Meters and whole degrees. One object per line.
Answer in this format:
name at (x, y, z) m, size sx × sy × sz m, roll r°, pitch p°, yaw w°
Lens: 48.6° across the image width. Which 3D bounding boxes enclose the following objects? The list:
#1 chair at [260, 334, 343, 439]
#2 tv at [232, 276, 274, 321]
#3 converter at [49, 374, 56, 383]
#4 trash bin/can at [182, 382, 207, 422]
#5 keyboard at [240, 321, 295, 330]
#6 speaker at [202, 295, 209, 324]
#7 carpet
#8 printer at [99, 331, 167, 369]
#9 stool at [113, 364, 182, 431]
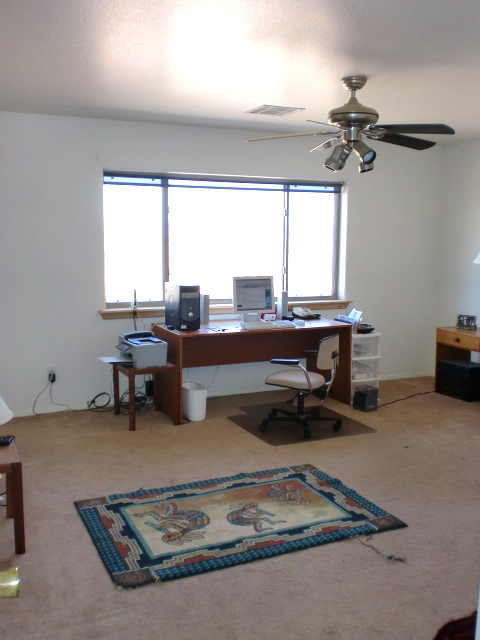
chair at (0.533, 0.549, 4.758) m, size 0.706 × 0.830 × 0.665 m, roll 3°, pitch 3°, yaw 40°
tv at (0.125, -0.233, 5.225) m, size 0.435 × 0.455 × 0.253 m, roll -2°, pitch 6°, yaw -19°
converter at (-1.752, 0.552, 4.999) m, size 0.061 × 0.106 × 0.040 m, roll -1°, pitch 5°, yaw -19°
trash bin/can at (-0.453, 0.752, 5.009) m, size 0.273 × 0.325 × 0.464 m, roll 0°, pitch 1°, yaw -12°
keyboard at (0.270, 0.054, 5.165) m, size 0.563 × 0.064 × 0.298 m, roll -1°, pitch 5°, yaw -18°
speaker at (-0.342, -0.099, 5.153) m, size 0.067 × 0.290 × 0.070 m, roll 0°, pitch 5°, yaw -8°
carpet at (-0.042, 1.097, 3.028) m, size 1.612 × 0.029 × 1.047 m, roll -1°, pitch 5°, yaw -24°
printer at (-0.895, 0.263, 4.644) m, size 0.448 × 0.209 × 0.335 m, roll -6°, pitch 14°, yaw -32°
stool at (-0.797, 0.627, 4.874) m, size 0.617 × 0.597 × 0.616 m, roll 0°, pitch 1°, yaw -23°
